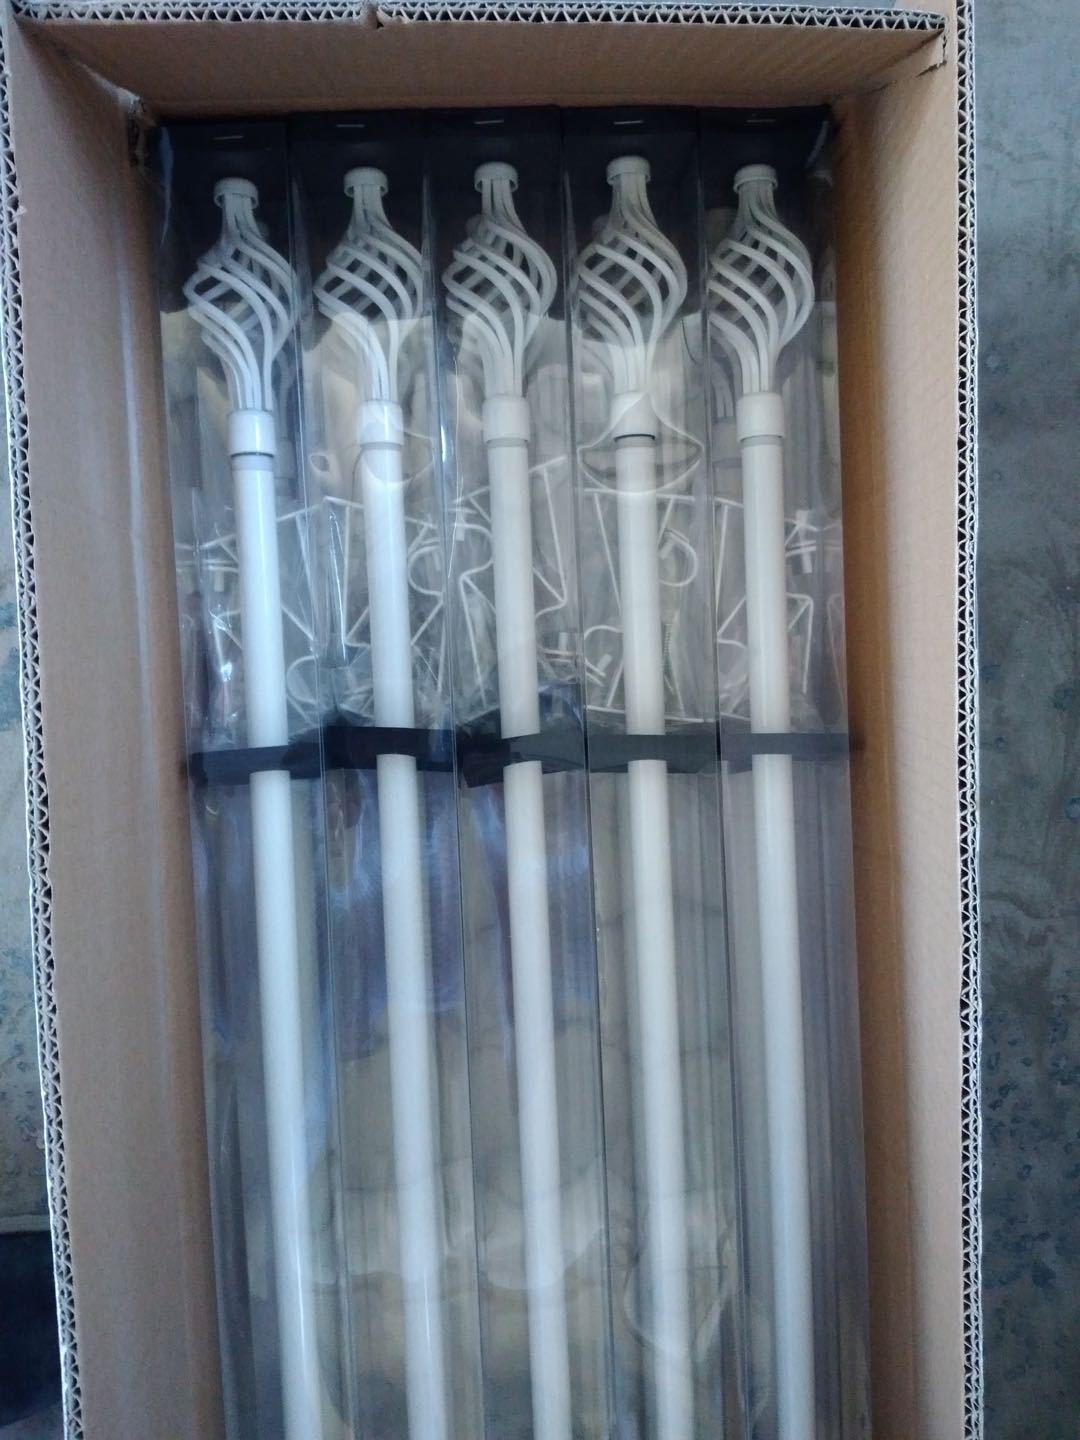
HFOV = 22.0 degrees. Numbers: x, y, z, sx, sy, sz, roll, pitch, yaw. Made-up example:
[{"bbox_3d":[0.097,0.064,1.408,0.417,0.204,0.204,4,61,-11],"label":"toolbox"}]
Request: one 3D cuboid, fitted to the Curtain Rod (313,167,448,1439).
[{"bbox_3d":[-0.084,0.051,1.652,0.060,0.841,0.093,-6,13,-7],"label":"Curtain Rod"}]
